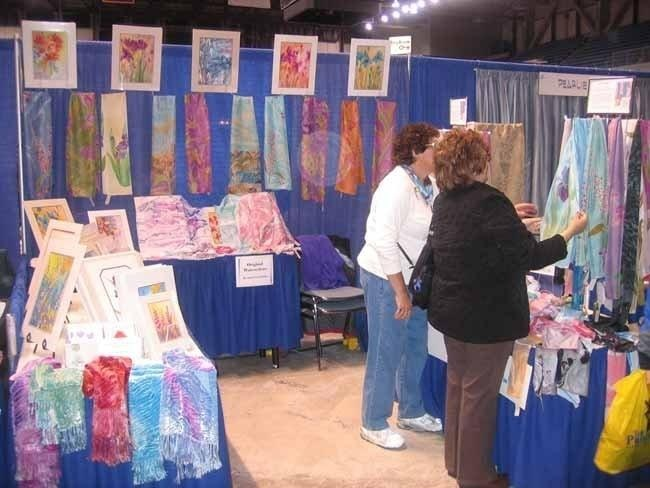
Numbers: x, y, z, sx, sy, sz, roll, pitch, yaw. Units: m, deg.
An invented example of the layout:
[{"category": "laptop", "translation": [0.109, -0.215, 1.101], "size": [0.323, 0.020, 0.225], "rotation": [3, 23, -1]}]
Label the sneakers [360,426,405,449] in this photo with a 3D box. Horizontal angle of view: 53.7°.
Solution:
[{"category": "sneakers", "translation": [0.364, 1.188, 4.026], "size": [0.222, 0.114, 0.127], "rotation": [0, 2, 31]}]

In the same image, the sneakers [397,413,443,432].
[{"category": "sneakers", "translation": [0.630, 1.183, 4.225], "size": [0.272, 0.146, 0.111], "rotation": [-1, -2, 12]}]
